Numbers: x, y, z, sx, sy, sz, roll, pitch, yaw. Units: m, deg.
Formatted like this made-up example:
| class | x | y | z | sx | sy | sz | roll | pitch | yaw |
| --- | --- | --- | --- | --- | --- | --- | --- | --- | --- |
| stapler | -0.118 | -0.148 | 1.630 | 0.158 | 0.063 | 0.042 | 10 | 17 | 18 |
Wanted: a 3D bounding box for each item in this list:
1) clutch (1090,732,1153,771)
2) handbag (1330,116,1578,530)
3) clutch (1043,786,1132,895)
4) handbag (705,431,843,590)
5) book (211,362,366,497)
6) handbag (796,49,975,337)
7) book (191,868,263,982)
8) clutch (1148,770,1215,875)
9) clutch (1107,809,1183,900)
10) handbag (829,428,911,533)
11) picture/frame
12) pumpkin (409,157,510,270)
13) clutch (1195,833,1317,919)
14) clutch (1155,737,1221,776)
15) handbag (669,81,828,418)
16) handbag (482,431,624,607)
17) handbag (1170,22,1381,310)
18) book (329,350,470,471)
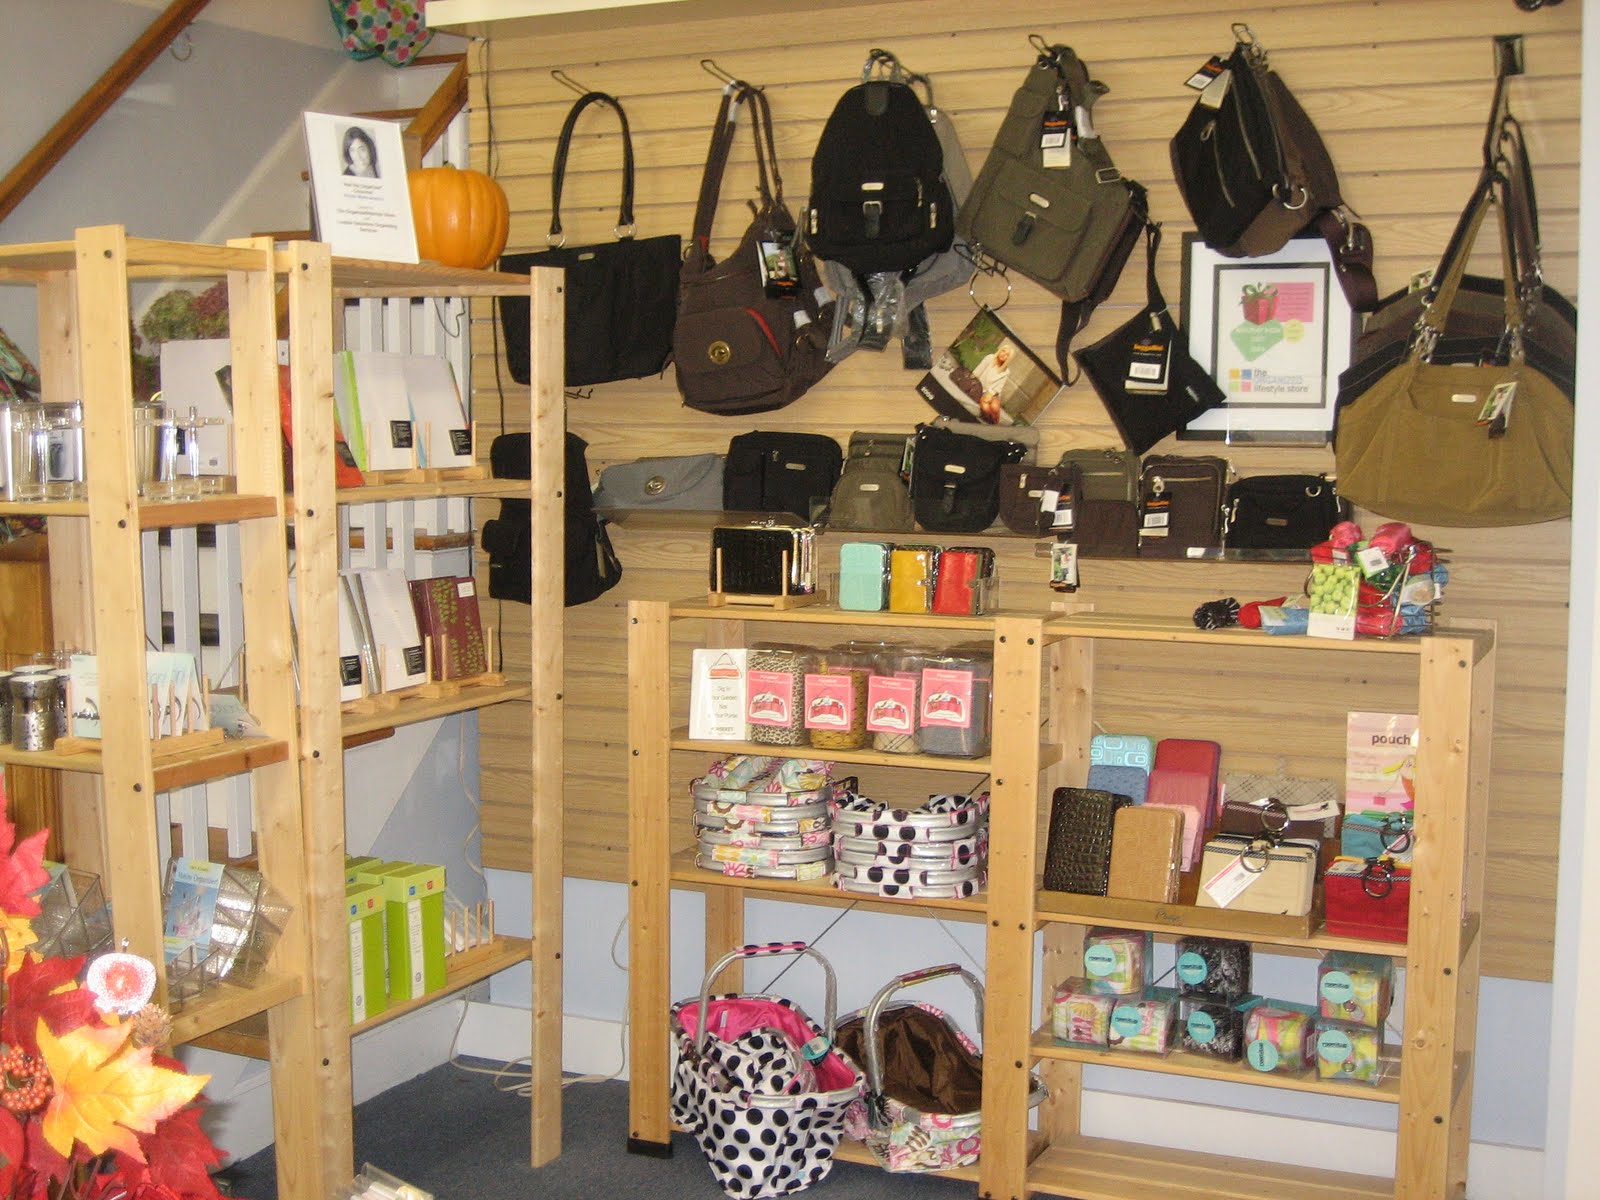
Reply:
| class | x | y | z | sx | sy | sz | roll | pitch | yaw |
| --- | --- | --- | --- | --- | --- | --- | --- | --- | --- |
| clutch | 0.914 | 0.432 | 3.894 | 0.107 | 0.105 | 0.026 | 3 | -7 | 24 |
| handbag | 1.679 | -0.693 | 3.495 | 0.539 | 0.947 | 0.188 | 3 | 3 | 3 |
| clutch | 0.761 | 0.660 | 3.764 | 0.258 | 0.264 | 0.061 | 1 | -9 | 40 |
| handbag | -0.067 | -0.265 | 4.119 | 0.433 | 0.585 | 0.315 | 3 | -4 | 26 |
| book | -1.264 | -0.428 | 3.413 | 0.081 | 0.302 | 0.333 | -10 | 9 | -39 |
| handbag | 0.228 | -1.161 | 3.938 | 0.470 | 0.820 | 0.293 | 2 | 12 | 17 |
| book | -1.344 | 0.766 | 3.225 | 0.127 | 0.229 | 0.054 | 6 | -11 | 13 |
| clutch | 1.035 | 0.608 | 3.753 | 0.186 | 0.257 | 0.057 | -3 | -15 | 31 |
| clutch | 0.910 | 0.682 | 3.650 | 0.181 | 0.242 | 0.055 | 7 | -5 | 23 |
| handbag | 0.207 | -0.346 | 4.101 | 0.285 | 0.353 | 0.190 | 2 | -5 | 25 |
| picture/frame | 1.307 | -0.723 | 3.795 | 0.618 | 0.729 | 0.026 | 3 | 10 | 19 |
| pumpkin | -0.971 | -1.062 | 3.998 | 0.319 | 0.332 | 0.325 | 3 | 2 | -14 |
| clutch | 1.153 | 0.721 | 3.531 | 0.209 | 0.137 | 0.210 | 3 | 4 | 26 |
| clutch | 1.064 | 0.434 | 3.816 | 0.108 | 0.027 | 0.113 | -2 | 26 | 23 |
| handbag | -0.129 | -1.077 | 4.185 | 0.476 | 1.023 | 0.221 | 4 | 4 | 21 |
| handbag | -0.806 | -0.266 | 4.387 | 0.494 | 0.517 | 0.119 | 4 | 5 | 16 |
| handbag | 1.308 | -1.185 | 3.724 | 0.385 | 0.521 | 0.665 | 0 | -45 | 53 |
| book | -1.108 | -0.506 | 3.742 | 0.111 | 0.255 | 0.380 | 1 | 5 | 21 |
